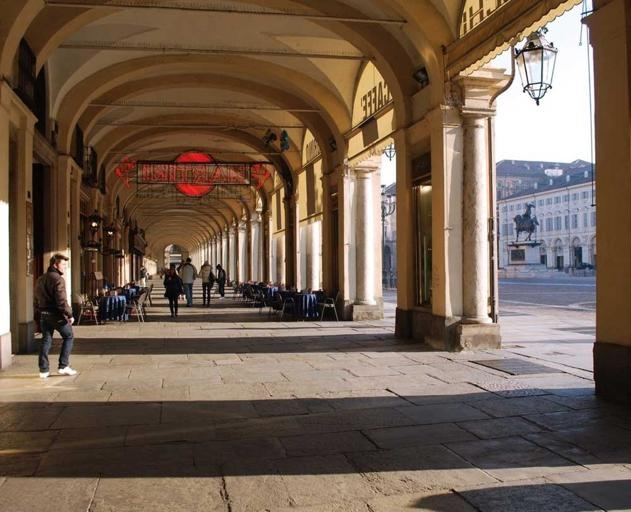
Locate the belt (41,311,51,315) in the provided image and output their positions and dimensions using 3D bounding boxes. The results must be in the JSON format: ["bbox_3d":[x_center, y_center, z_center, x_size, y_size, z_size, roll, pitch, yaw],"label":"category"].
[{"bbox_3d":[-3.495,0.736,7.447,0.200,0.047,0.051,-1,-1,41],"label":"belt"}]

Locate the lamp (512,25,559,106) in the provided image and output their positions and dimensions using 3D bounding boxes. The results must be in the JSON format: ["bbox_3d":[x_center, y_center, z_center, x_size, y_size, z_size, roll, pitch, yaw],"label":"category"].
[{"bbox_3d":[2.934,-2.524,7.645,0.496,1.099,0.371,-1,-1,23],"label":"lamp"}]

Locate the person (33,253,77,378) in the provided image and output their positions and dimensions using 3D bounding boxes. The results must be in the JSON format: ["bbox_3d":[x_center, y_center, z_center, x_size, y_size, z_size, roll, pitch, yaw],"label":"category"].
[{"bbox_3d":[-3.416,0.772,7.601,0.477,1.609,0.640,0,-1,-25],"label":"person"}]

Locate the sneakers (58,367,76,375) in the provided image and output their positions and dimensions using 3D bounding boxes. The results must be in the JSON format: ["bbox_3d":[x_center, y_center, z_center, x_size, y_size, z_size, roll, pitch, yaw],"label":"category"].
[{"bbox_3d":[-3.271,1.531,7.632,0.259,0.131,0.100,3,2,-23],"label":"sneakers"}]
